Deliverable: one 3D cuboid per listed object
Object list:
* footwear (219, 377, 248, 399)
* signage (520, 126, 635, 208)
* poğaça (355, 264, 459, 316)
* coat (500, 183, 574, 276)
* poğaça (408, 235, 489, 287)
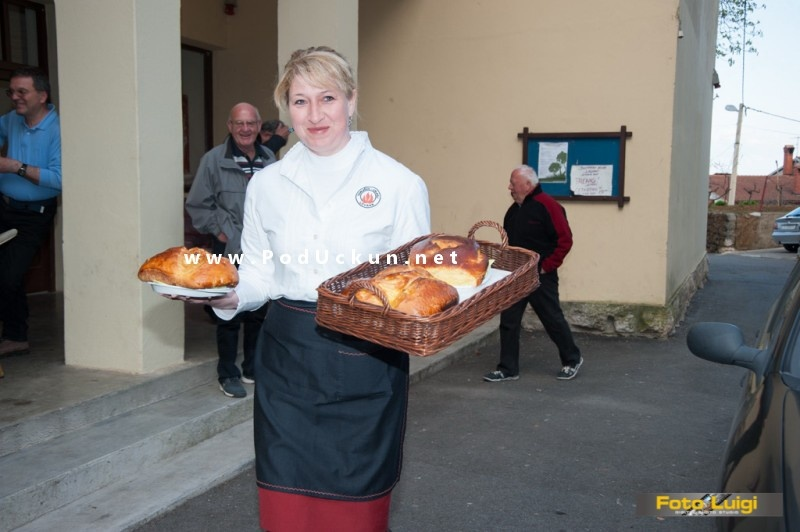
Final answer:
[{"bbox_3d":[-1.511,1.124,5.499,0.123,0.123,0.310,-2,0,-34],"label":"footwear"},{"bbox_3d":[2.650,-1.444,8.741,1.420,1.038,0.072,4,14,19],"label":"signage"},{"bbox_3d":[0.050,0.109,2.557,0.259,0.082,0.256,14,15,30],"label":"poğaça"},{"bbox_3d":[1.586,-0.478,7.203,0.622,1.019,1.087,-16,20,-27],"label":"coat"},{"bbox_3d":[0.242,-0.034,2.841,0.276,0.140,0.279,3,25,-9],"label":"poğaça"}]
